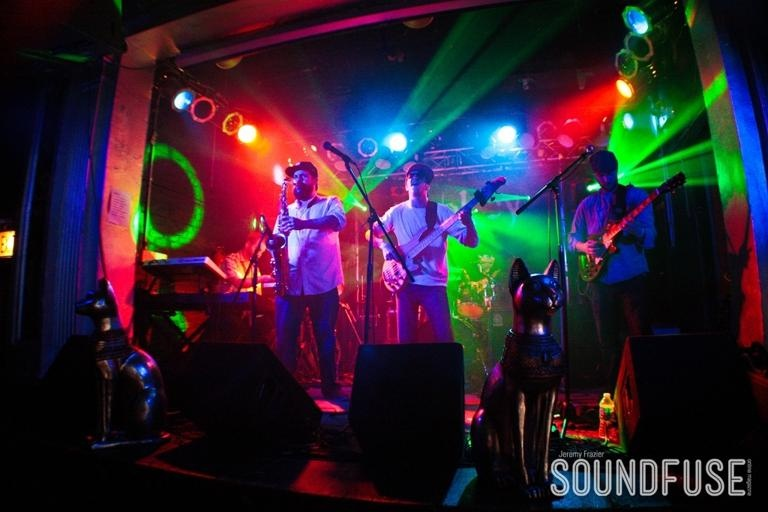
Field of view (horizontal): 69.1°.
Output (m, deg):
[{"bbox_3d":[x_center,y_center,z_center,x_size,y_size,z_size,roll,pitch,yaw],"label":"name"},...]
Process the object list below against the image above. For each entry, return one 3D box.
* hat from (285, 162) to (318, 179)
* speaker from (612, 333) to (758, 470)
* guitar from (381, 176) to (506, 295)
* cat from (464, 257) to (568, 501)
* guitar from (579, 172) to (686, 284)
[{"bbox_3d":[-0.911,-0.997,6.324,0.279,0.141,0.202,19,-16,-29],"label":"hat"},{"bbox_3d":[2.300,1.115,4.557,0.904,0.869,0.909,-2,-8,4],"label":"speaker"},{"bbox_3d":[0.593,-0.196,5.885,1.256,0.940,0.650,-6,-16,28],"label":"guitar"},{"bbox_3d":[0.970,0.889,4.089,0.658,1.687,0.435,0,-14,8],"label":"cat"},{"bbox_3d":[2.559,-0.236,5.897,0.258,0.895,1.315,8,-15,-23],"label":"guitar"}]
